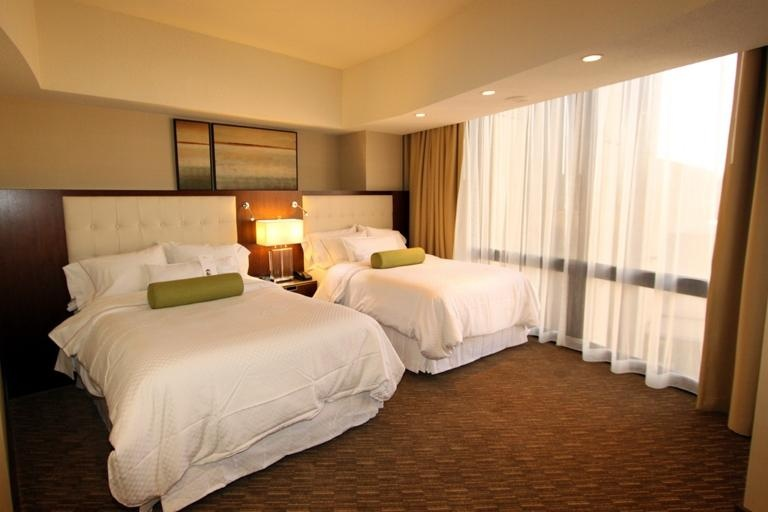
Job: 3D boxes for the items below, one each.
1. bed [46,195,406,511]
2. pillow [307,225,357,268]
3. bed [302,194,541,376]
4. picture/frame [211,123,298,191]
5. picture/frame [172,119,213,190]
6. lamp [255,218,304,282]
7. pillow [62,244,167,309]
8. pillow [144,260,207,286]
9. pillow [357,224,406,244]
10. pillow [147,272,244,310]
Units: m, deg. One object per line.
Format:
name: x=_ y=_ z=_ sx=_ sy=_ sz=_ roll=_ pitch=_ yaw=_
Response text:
bed: x=-1.830 y=0.820 z=5.006 sx=2.539 sy=1.888 sz=3.132 roll=-12 pitch=18 yaw=-41
pillow: x=-0.690 y=-0.103 z=6.892 sx=0.599 sy=0.216 sz=0.942 roll=-4 pitch=-21 yaw=2
bed: x=0.291 y=0.157 z=6.400 sx=2.090 sy=1.597 sz=2.743 roll=-6 pitch=13 yaw=-35
picture/frame: x=-1.716 y=-1.275 z=6.556 sx=0.930 sy=0.606 sz=0.022 roll=-8 pitch=11 yaw=-42
picture/frame: x=-2.290 y=-1.238 z=6.175 sx=0.429 sy=0.828 sz=0.027 roll=-5 pitch=8 yaw=-37
lamp: x=-1.318 y=-0.081 z=6.292 sx=0.648 sy=0.918 sz=0.295 roll=-11 pitch=23 yaw=-37
pillow: x=-2.779 y=0.151 z=5.145 sx=0.920 sy=0.569 sz=0.268 roll=-14 pitch=-6 yaw=-38
pillow: x=-2.120 y=0.141 z=5.154 sx=0.368 sy=0.105 sz=0.261 roll=-13 pitch=46 yaw=-39
pillow: x=-0.126 y=-0.340 z=7.133 sx=0.370 sy=0.119 sz=0.399 roll=-7 pitch=13 yaw=-36
pillow: x=-1.800 y=0.321 z=4.900 sx=0.319 sy=0.270 sz=0.760 roll=23 pitch=11 yaw=39
